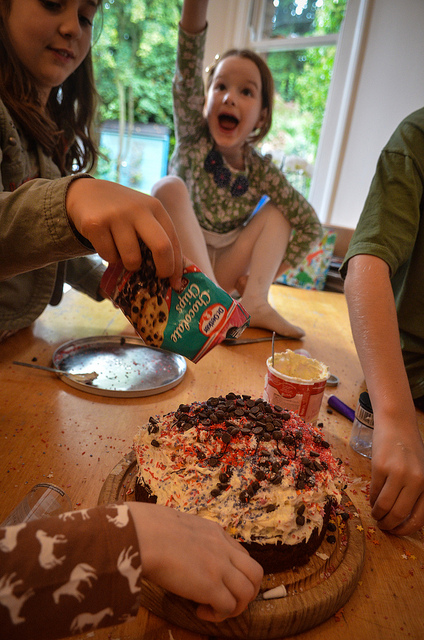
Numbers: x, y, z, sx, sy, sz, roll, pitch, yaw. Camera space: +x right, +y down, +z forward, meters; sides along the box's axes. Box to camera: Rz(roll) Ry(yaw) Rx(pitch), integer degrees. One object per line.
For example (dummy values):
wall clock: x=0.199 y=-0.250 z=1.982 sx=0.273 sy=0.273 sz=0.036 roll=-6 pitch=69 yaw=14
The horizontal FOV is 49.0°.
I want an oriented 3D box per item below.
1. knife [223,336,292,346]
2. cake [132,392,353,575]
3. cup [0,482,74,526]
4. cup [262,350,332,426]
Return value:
knife: x=0.155 y=0.076 z=1.676 sx=0.236 sy=0.011 sz=0.030 roll=-7 pitch=-1 yaw=-35
cake: x=0.045 y=0.243 z=0.805 sx=0.373 sy=0.135 sz=0.309 roll=14 pitch=25 yaw=5
cup: x=-0.258 y=0.269 z=0.681 sx=0.043 sy=0.045 sz=0.070 roll=-15 pitch=6 yaw=32
cup: x=0.192 y=0.157 z=1.111 sx=0.146 sy=0.171 sz=0.153 roll=-1 pitch=22 yaw=0
